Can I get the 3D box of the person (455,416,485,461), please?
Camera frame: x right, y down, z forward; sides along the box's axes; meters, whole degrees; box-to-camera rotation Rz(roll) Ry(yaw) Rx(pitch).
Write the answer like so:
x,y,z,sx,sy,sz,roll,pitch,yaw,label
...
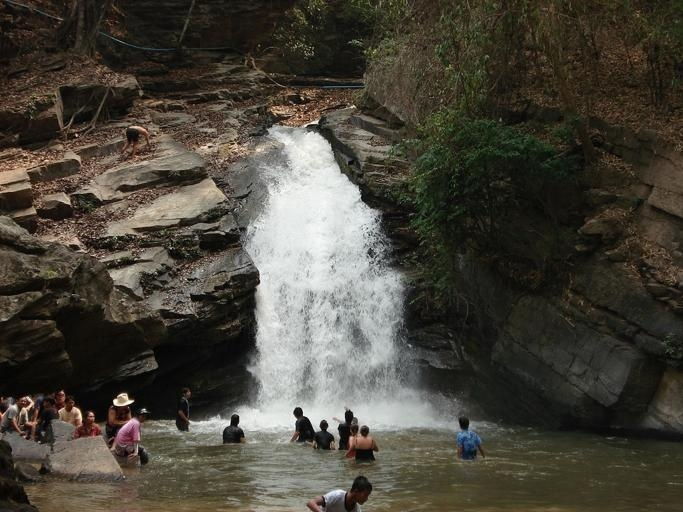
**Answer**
x,y,z,sx,sy,sz,roll,pitch,yaw,label
2.950,4.117,13.597,0.607,0.939,0.702,1,-2,14,person
